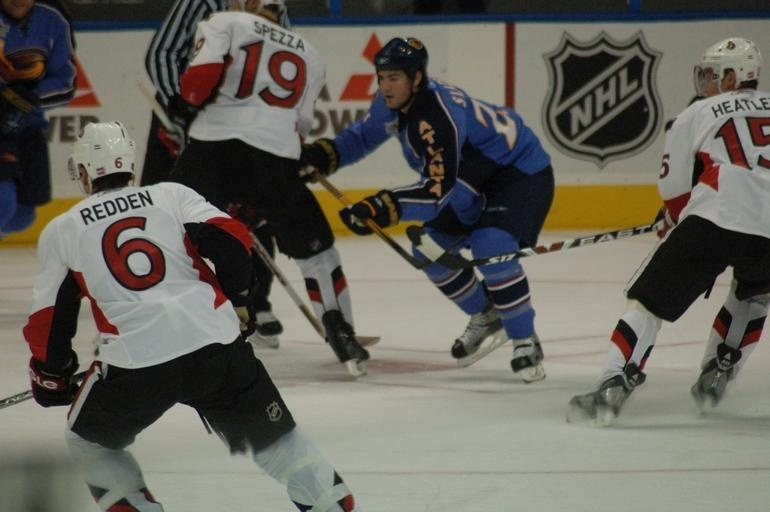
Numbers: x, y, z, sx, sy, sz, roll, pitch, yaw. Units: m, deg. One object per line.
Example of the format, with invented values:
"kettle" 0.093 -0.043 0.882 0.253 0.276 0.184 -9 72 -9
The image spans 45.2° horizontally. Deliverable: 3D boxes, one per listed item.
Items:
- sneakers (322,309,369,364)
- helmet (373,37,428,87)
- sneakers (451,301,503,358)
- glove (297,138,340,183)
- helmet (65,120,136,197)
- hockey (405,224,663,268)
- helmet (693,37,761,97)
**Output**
"sneakers" -0.225 0.435 5.075 0.141 0.149 0.378 -30 66 -12
"helmet" 0.090 -1.041 4.948 0.329 0.234 0.254 -11 20 -40
"sneakers" 0.549 0.436 5.385 0.348 0.212 0.112 -41 33 -14
"glove" -0.372 -0.536 5.281 0.248 0.111 0.239 -28 52 5
"helmet" -1.149 -0.392 3.804 0.285 0.310 0.300 -3 13 -1
"hockey" 0.961 -0.048 5.877 1.360 0.326 0.186 -6 14 6
"helmet" 1.737 -0.944 4.670 0.337 0.279 0.277 5 10 31
